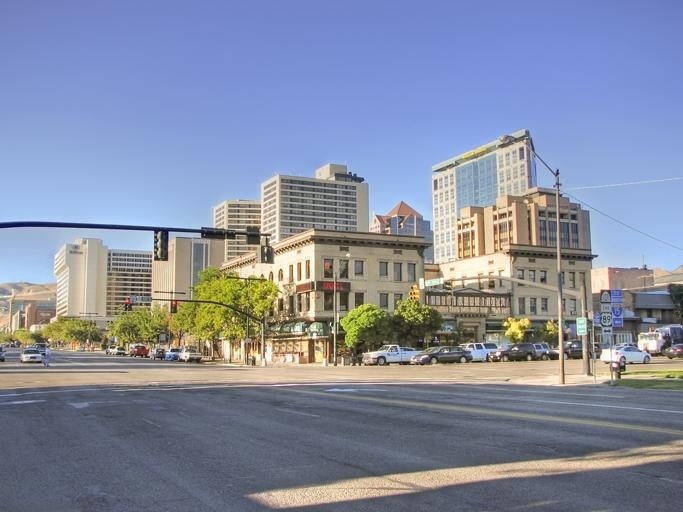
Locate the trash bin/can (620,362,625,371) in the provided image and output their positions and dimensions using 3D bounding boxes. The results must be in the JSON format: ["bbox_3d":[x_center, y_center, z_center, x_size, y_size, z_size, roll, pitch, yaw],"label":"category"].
[{"bbox_3d":[14.638,5.774,34.190,0.359,0.473,0.510,-2,-6,15],"label":"trash bin/can"}]

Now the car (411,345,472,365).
[{"bbox_3d":[9.247,9.106,59.642,4.739,1.432,1.995,5,-11,-20],"label":"car"}]

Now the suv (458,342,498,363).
[{"bbox_3d":[13.417,9.295,62.528,3.313,1.285,1.706,-3,-1,-17],"label":"suv"}]

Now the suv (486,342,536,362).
[{"bbox_3d":[16.555,9.252,62.475,3.463,1.362,1.887,4,-11,-15],"label":"suv"}]

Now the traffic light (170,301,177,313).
[{"bbox_3d":[-13.521,4.061,52.945,0.374,1.090,3.114,2,-10,-17],"label":"traffic light"}]

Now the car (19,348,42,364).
[{"bbox_3d":[-33.377,10.976,70.768,1.497,1.135,3.450,1,1,-22],"label":"car"}]

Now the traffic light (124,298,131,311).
[{"bbox_3d":[-17.375,3.897,53.452,0.530,0.858,1.381,2,-10,-16],"label":"traffic light"}]

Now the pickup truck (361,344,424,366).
[{"bbox_3d":[4.585,9.224,60.497,4.367,1.506,2.045,1,-6,-5],"label":"pickup truck"}]
